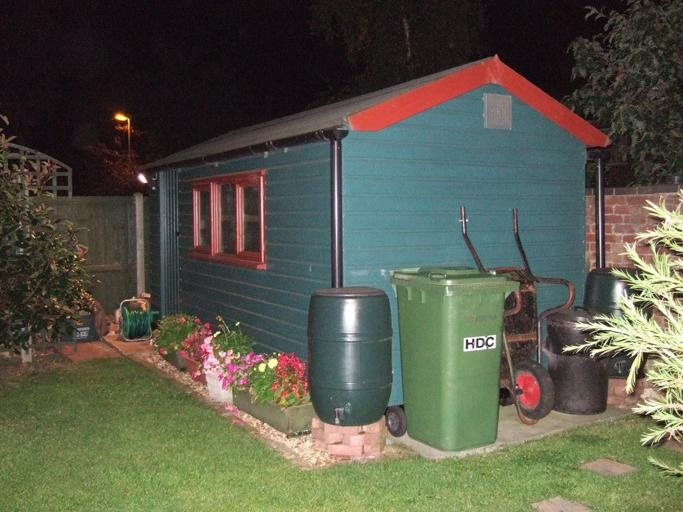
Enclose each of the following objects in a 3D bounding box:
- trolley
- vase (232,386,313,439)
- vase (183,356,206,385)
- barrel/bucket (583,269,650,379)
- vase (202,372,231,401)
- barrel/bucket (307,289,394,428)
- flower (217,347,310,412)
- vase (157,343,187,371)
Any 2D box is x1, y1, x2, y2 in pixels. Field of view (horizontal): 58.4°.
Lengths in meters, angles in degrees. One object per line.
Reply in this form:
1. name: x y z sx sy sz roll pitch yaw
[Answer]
1. trolley: 2.038 0.774 6.757 0.986 2.583 1.176 -1 7 -26
2. vase: -0.761 1.690 6.702 1.059 0.327 0.307 7 11 42
3. vase: -1.999 1.548 8.271 0.241 0.215 0.324 -1 4 -34
4. barrel/bucket: 3.117 0.773 7.168 0.804 1.285 0.798 -1 8 0
5. vase: -1.555 1.627 7.496 0.310 0.455 0.417 0 -2 -33
6. barrel/bucket: 0.066 0.900 6.001 0.645 1.410 0.660 0 1 0
7. flower: -0.854 1.345 6.780 0.832 0.554 0.922 -1 9 -36
8. vase: -2.493 1.493 8.920 0.125 0.307 1.010 -6 10 -33
